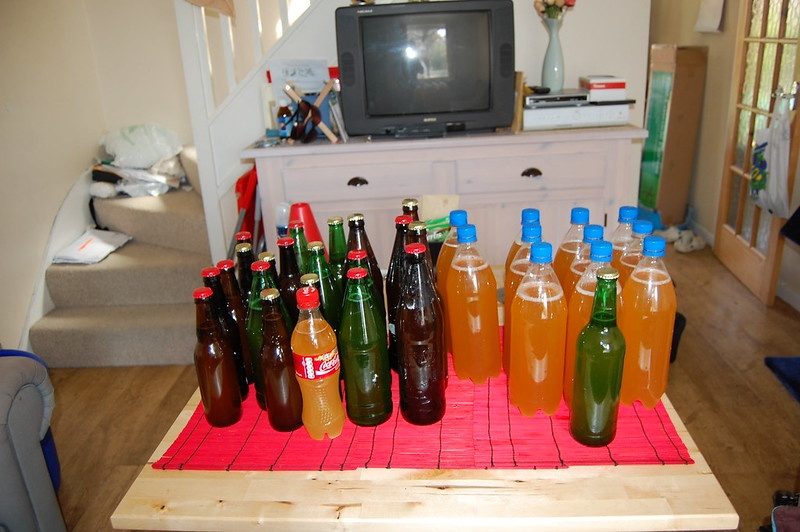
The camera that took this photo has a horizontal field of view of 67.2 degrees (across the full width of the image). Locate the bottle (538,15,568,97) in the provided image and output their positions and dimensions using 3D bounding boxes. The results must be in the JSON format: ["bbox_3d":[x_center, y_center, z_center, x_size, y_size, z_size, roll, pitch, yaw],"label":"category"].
[{"bbox_3d":[0.796,-1.099,3.142,0.109,0.367,0.274,0,21,14],"label":"bottle"}]

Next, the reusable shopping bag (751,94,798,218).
[{"bbox_3d":[2.144,-0.636,3.445,0.161,0.697,0.417,2,22,20],"label":"reusable shopping bag"}]

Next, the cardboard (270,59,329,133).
[{"bbox_3d":[-0.530,-0.914,3.221,0.321,0.378,0.357,-8,20,-6],"label":"cardboard"}]

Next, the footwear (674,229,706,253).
[{"bbox_3d":[2.119,-0.190,4.461,0.272,0.120,0.137,-7,22,-23],"label":"footwear"}]

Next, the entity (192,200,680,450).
[{"bbox_3d":[0.317,0.074,1.748,0.779,0.456,0.760,0,10,-1],"label":"entity"}]

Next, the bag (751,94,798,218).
[{"bbox_3d":[2.144,-0.636,3.445,0.161,0.697,0.417,2,22,20],"label":"bag"}]

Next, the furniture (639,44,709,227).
[{"bbox_3d":[2.138,-1.029,4.738,0.424,1.333,0.635,0,21,14],"label":"furniture"}]

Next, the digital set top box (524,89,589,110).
[{"bbox_3d":[0.808,-0.845,3.064,0.308,0.073,0.188,-17,23,-30],"label":"digital set top box"}]
